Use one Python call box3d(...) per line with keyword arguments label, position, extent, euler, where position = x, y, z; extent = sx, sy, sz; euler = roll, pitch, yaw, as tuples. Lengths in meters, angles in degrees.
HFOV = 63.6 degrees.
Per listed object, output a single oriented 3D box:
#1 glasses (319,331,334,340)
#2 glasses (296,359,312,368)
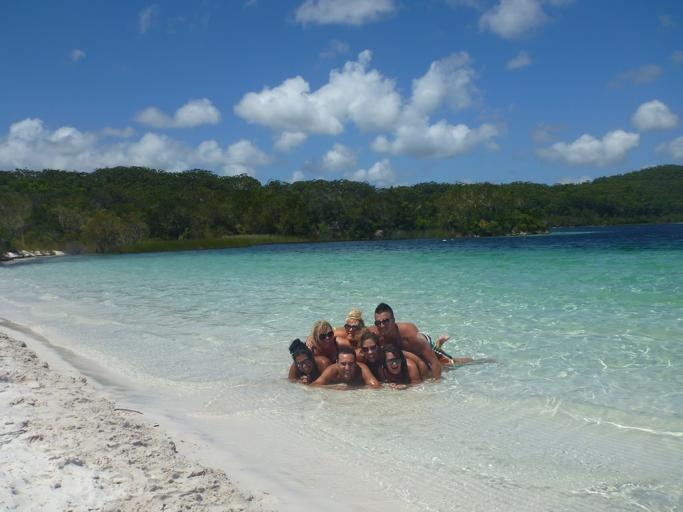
box3d(label="glasses", position=(-0.288, 1.492, 10.387), extent=(0.268, 0.172, 0.141), euler=(-1, 6, -10))
box3d(label="glasses", position=(-0.700, 2.024, 10.360), extent=(0.174, 0.162, 0.073), euler=(8, 2, -5))
